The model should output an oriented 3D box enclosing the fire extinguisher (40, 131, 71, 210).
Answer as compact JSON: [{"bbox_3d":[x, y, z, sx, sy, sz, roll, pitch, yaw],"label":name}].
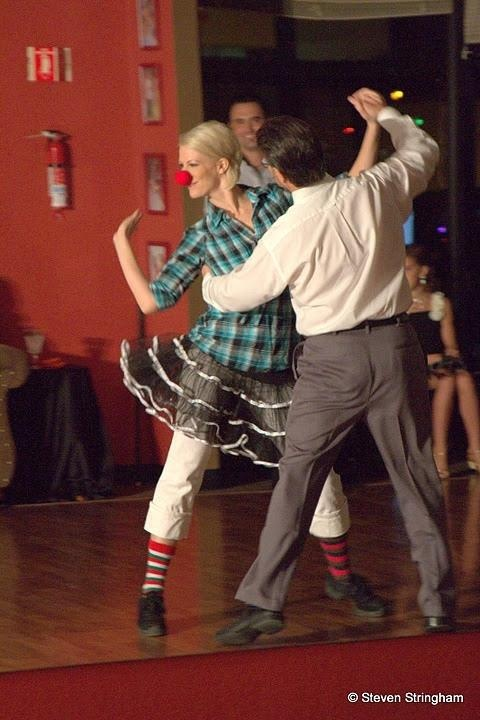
[{"bbox_3d":[-0.595,-0.615,2.247,0.101,0.253,0.042,2,12,-8],"label":"fire extinguisher"}]

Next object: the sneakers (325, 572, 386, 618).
[{"bbox_3d":[0.336,0.674,1.967,0.210,0.084,0.074,10,28,30],"label":"sneakers"}]

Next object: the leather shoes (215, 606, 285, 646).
[{"bbox_3d":[0.016,0.679,1.770,0.209,0.068,0.098,-16,-16,32],"label":"leather shoes"}]
